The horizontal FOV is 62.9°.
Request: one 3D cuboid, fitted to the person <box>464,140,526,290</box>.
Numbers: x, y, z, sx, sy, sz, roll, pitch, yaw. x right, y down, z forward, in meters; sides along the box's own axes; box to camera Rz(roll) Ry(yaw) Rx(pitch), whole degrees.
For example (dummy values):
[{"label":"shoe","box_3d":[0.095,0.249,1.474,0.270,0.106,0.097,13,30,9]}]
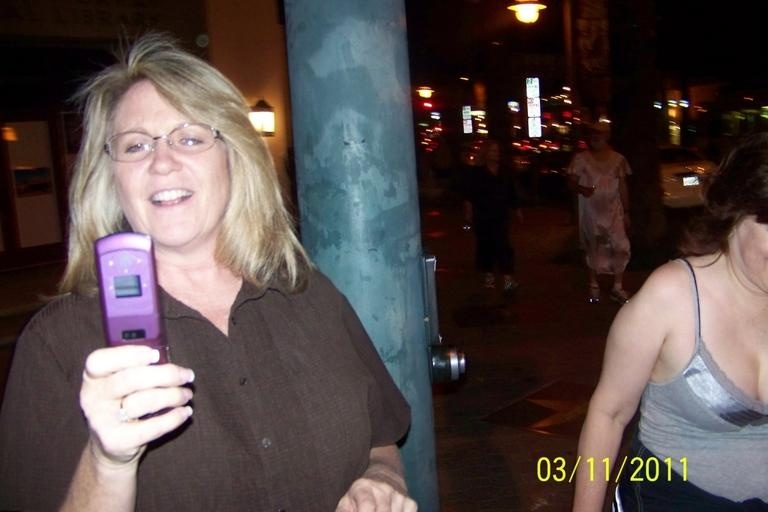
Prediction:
[{"label":"person","box_3d":[1.735,-0.642,10.134,0.793,2.432,1.196,-2,12,14]}]
